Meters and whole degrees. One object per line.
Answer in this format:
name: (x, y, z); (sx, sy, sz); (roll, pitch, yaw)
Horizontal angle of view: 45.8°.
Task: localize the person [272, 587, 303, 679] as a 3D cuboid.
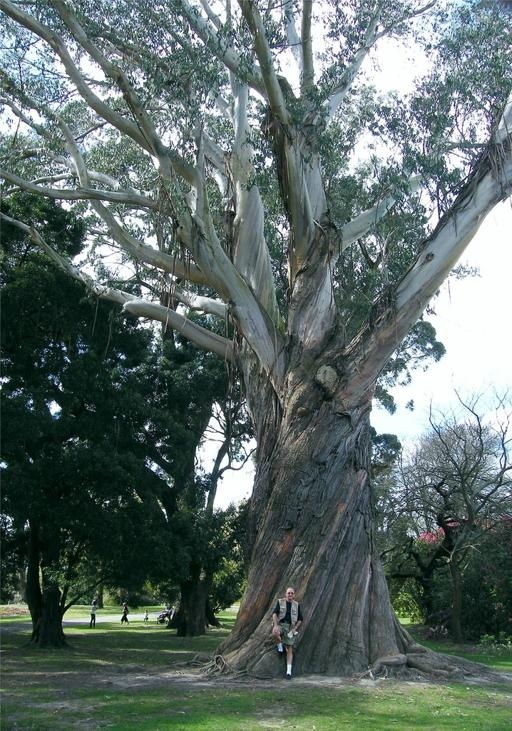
person: (0.386, 3.468, 7.900); (0.381, 1.060, 0.471); (1, -19, 9)
